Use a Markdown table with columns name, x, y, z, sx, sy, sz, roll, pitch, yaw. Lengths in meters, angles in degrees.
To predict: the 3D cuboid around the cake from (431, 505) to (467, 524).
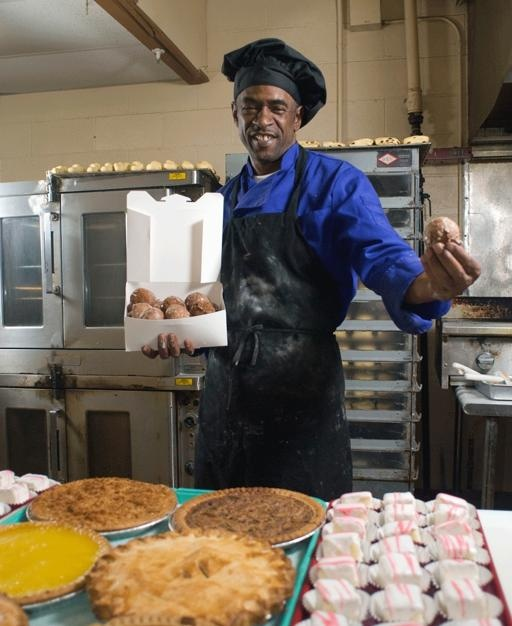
| name | x | y | z | sx | sy | sz | roll | pitch | yaw |
| --- | --- | --- | --- | --- | --- | --- | --- | --- | --- |
| cake | 0.373 | 0.388 | 1.318 | 0.042 | 0.022 | 0.050 | 0 | -2 | 12 |

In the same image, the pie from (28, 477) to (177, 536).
| name | x | y | z | sx | sy | sz | roll | pitch | yaw |
| --- | --- | --- | --- | --- | --- | --- | --- | --- | --- |
| pie | -0.307 | 0.366 | 1.400 | 0.272 | 0.063 | 0.172 | 1 | 8 | -15 |

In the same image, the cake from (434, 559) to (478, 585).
| name | x | y | z | sx | sy | sz | roll | pitch | yaw |
| --- | --- | --- | --- | --- | --- | --- | --- | --- | --- |
| cake | 0.341 | 0.435 | 1.154 | 0.075 | 0.028 | 0.048 | -1 | -14 | 3 |

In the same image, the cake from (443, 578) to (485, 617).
| name | x | y | z | sx | sy | sz | roll | pitch | yaw |
| --- | --- | --- | --- | --- | --- | --- | --- | --- | --- |
| cake | 0.335 | 0.464 | 1.118 | 0.064 | 0.057 | 0.065 | -2 | 0 | 1 |

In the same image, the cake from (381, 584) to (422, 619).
| name | x | y | z | sx | sy | sz | roll | pitch | yaw |
| --- | --- | --- | --- | --- | --- | --- | --- | --- | --- |
| cake | 0.238 | 0.467 | 1.110 | 0.062 | 0.049 | 0.061 | -2 | 0 | 8 |

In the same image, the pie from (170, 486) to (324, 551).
| name | x | y | z | sx | sy | sz | roll | pitch | yaw |
| --- | --- | --- | --- | --- | --- | --- | --- | --- | --- |
| pie | -0.008 | 0.383 | 1.345 | 0.192 | 0.052 | 0.185 | 7 | 11 | 41 |

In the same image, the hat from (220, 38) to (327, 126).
| name | x | y | z | sx | sy | sz | roll | pitch | yaw |
| --- | --- | --- | --- | --- | --- | --- | --- | --- | --- |
| hat | 0.058 | -0.651 | 1.912 | 0.211 | 0.195 | 0.315 | 7 | 17 | 20 |

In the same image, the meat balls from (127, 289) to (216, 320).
| name | x | y | z | sx | sy | sz | roll | pitch | yaw |
| --- | --- | --- | --- | --- | --- | --- | --- | --- | --- |
| meat balls | -0.204 | -0.032 | 1.680 | 0.223 | 0.068 | 0.168 | -1 | 7 | 5 |

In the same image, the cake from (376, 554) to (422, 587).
| name | x | y | z | sx | sy | sz | roll | pitch | yaw |
| --- | --- | --- | --- | --- | --- | --- | --- | --- | --- |
| cake | 0.246 | 0.441 | 1.165 | 0.078 | 0.050 | 0.055 | -2 | 0 | 5 |

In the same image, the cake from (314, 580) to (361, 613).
| name | x | y | z | sx | sy | sz | roll | pitch | yaw |
| --- | --- | --- | --- | --- | --- | --- | --- | --- | --- |
| cake | 0.130 | 0.453 | 1.096 | 0.065 | 0.025 | 0.050 | 14 | 1 | -23 |

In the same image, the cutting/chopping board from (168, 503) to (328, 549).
| name | x | y | z | sx | sy | sz | roll | pitch | yaw |
| --- | --- | --- | --- | --- | --- | --- | --- | --- | --- |
| cutting/chopping board | -0.025 | 0.385 | 1.347 | 0.259 | 0.046 | 0.217 | -3 | 8 | -16 |

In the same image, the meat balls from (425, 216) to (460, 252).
| name | x | y | z | sx | sy | sz | roll | pitch | yaw |
| --- | --- | --- | --- | --- | --- | --- | --- | --- | --- |
| meat balls | 0.337 | -0.152 | 1.268 | 0.056 | 0.058 | 0.066 | -2 | -6 | 4 |

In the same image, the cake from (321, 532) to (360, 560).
| name | x | y | z | sx | sy | sz | roll | pitch | yaw |
| --- | --- | --- | --- | --- | --- | --- | --- | --- | --- |
| cake | 0.152 | 0.414 | 1.219 | 0.092 | 0.049 | 0.045 | -1 | -6 | 8 |

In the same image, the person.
| name | x | y | z | sx | sy | sz | roll | pitch | yaw |
| --- | --- | --- | --- | --- | --- | --- | --- | --- | --- |
| person | 0.124 | -0.050 | 1.786 | 0.710 | 1.369 | 0.594 | -1 | 2 | 2 |

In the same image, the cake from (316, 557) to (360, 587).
| name | x | y | z | sx | sy | sz | roll | pitch | yaw |
| --- | --- | --- | --- | --- | --- | --- | --- | --- | --- |
| cake | 0.139 | 0.435 | 1.156 | 0.079 | 0.030 | 0.051 | -1 | -8 | 9 |

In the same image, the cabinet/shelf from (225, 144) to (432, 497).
| name | x | y | z | sx | sy | sz | roll | pitch | yaw |
| --- | --- | --- | --- | --- | --- | --- | --- | --- | --- |
| cabinet/shelf | 0.380 | 0.059 | 3.166 | 0.944 | 1.267 | 0.636 | 3 | 9 | 20 |
